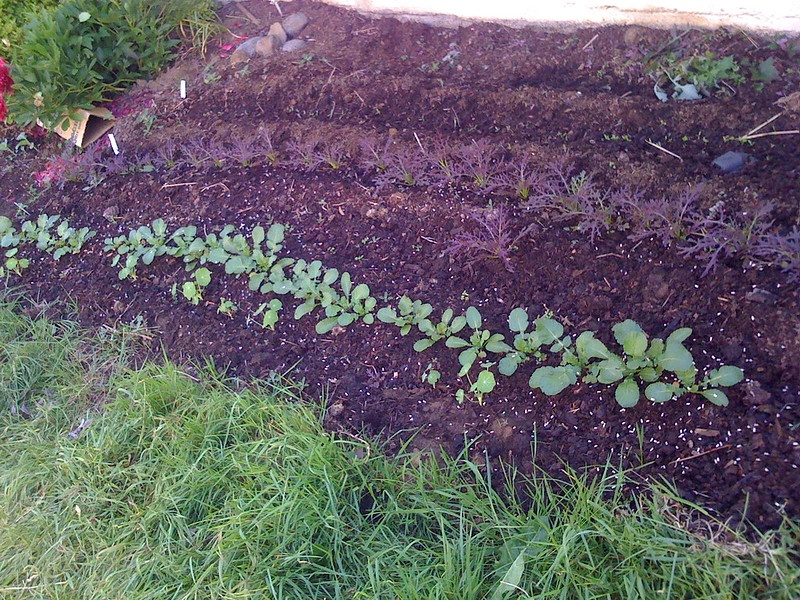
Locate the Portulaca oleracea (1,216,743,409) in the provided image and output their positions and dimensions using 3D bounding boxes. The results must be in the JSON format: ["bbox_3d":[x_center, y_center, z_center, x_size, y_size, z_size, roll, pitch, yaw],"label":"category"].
[{"bbox_3d":[-0.011,0.084,3.946,3.873,0.577,0.679,13,70,25],"label":"Portulaca oleracea"}]
